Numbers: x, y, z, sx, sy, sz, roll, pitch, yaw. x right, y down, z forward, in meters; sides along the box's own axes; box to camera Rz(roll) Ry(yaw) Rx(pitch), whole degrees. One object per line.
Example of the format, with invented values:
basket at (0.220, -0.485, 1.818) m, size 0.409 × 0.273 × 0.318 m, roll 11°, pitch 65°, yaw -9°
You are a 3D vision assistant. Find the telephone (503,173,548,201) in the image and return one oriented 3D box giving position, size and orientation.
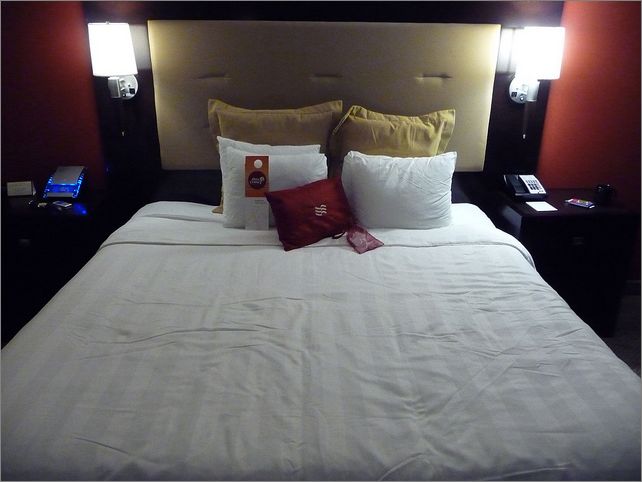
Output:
telephone at (1.261, -0.333, 2.778) m, size 0.161 × 0.074 × 0.218 m, roll 2°, pitch 34°, yaw -6°

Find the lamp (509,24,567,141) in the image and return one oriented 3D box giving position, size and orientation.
lamp at (1.289, -0.945, 2.754) m, size 0.248 × 0.650 × 0.307 m, roll 6°, pitch 23°, yaw 16°

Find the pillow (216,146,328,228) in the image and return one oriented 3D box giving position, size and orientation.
pillow at (-0.253, -0.283, 2.394) m, size 0.430 × 0.318 × 0.150 m, roll -1°, pitch 10°, yaw -6°

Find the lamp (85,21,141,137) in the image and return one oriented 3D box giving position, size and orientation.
lamp at (-1.211, -0.936, 2.673) m, size 0.240 × 0.643 × 0.264 m, roll -9°, pitch 24°, yaw -20°

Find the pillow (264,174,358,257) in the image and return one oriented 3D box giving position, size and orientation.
pillow at (-0.058, -0.134, 2.304) m, size 0.541 × 0.339 × 0.158 m, roll -17°, pitch -1°, yaw -27°

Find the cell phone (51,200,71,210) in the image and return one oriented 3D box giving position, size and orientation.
cell phone at (-1.557, -0.213, 2.681) m, size 0.101 × 0.015 × 0.061 m, roll 6°, pitch 38°, yaw -2°
